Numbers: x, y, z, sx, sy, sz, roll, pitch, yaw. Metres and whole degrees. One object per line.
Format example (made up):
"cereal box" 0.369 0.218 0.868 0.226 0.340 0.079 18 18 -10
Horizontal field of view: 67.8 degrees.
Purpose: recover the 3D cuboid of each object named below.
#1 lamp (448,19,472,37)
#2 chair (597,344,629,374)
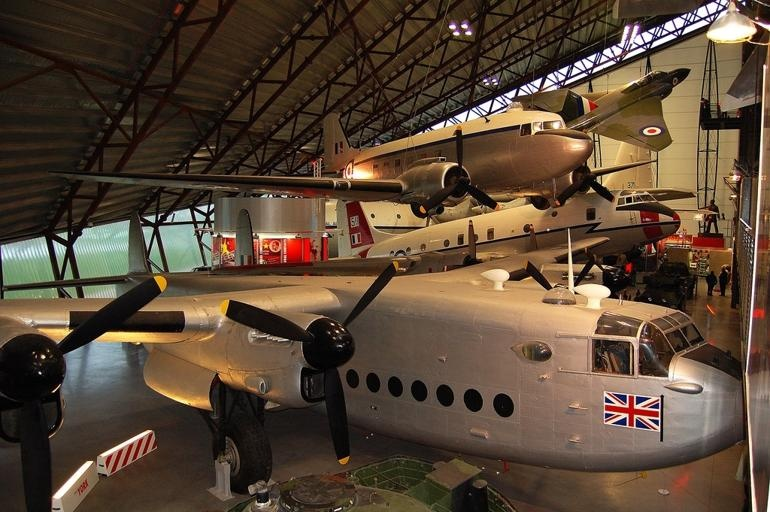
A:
"lamp" 3.520 -10.931 27.727 1.461 0.301 1.334 -1 7 -16
"chair" 4.423 1.953 11.053 0.533 0.571 0.269 1 1 21
